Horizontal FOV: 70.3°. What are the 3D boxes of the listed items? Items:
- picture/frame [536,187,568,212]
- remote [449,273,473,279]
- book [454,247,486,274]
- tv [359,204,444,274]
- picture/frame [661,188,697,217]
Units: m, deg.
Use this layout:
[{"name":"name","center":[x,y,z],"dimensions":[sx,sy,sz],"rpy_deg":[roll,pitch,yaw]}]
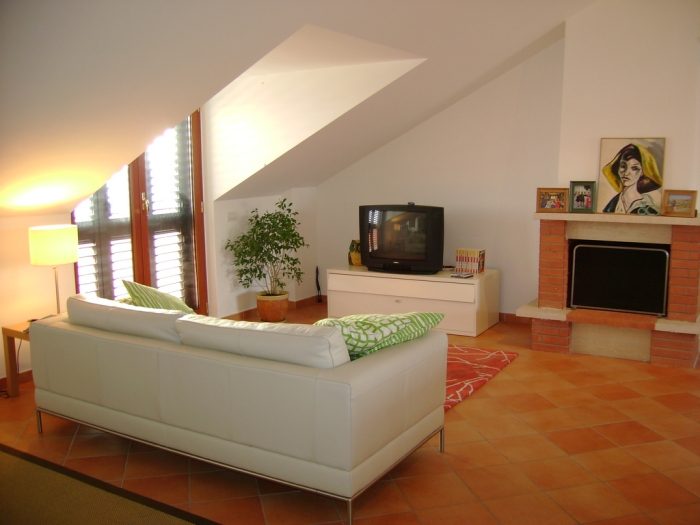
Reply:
[{"name":"picture/frame","center":[2.052,-0.632,5.011],"dimensions":[0.235,0.212,0.026],"rpy_deg":[4,7,25]},{"name":"remote","center":[1.277,0.148,5.642],"dimensions":[0.243,0.019,0.238],"rpy_deg":[4,11,22]},{"name":"book","center":[1.438,-0.016,5.821],"dimensions":[0.266,0.341,0.339],"rpy_deg":[-1,0,-40]},{"name":"tv","center":[0.696,-0.285,6.243],"dimensions":[1.280,1.083,0.765],"rpy_deg":[2,5,21]},{"name":"picture/frame","center":[3.013,-0.544,4.533],"dimensions":[0.249,0.262,0.019],"rpy_deg":[5,3,31]}]
